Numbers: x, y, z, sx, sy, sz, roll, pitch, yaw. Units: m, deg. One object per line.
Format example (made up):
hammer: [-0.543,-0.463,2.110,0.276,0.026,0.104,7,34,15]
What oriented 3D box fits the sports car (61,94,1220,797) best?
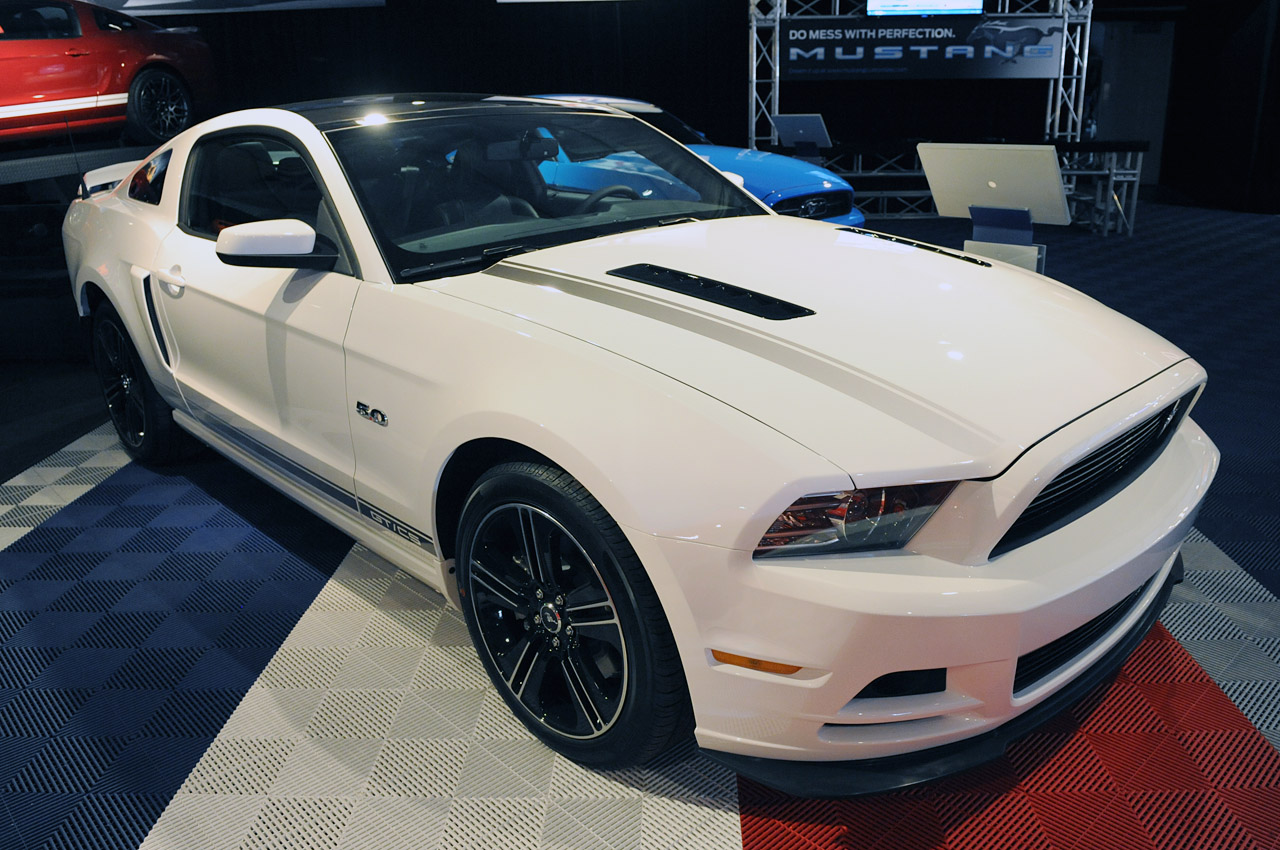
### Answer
sports car: [-0.612,-0.435,3.374,5.085,1.817,2.114,20,34,36]
